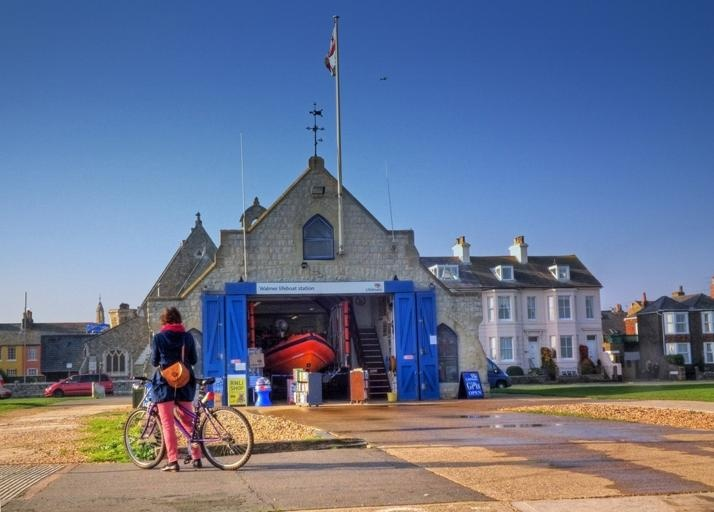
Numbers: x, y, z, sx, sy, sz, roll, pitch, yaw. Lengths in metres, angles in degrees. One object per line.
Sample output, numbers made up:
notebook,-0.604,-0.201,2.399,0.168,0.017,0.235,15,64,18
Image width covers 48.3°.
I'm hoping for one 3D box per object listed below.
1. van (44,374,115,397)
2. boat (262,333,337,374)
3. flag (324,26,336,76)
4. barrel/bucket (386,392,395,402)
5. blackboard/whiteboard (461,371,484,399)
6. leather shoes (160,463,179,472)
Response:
van,-16.848,7.799,48.300,3.893,1.309,1.544,3,-10,-26
boat,-2.445,4.400,35.698,2.478,1.580,4.678,5,-12,-36
flag,-1.024,-8.095,31.749,0.343,1.839,0.896,0,-9,-9
barrel/bucket,1.294,5.273,29.912,0.311,0.246,0.302,0,-15,0
blackboard/whiteboard,4.369,4.920,30.394,0.693,0.943,0.522,9,-25,-31
leather shoes,-3.155,3.544,13.412,0.341,0.155,0.129,1,-14,14
